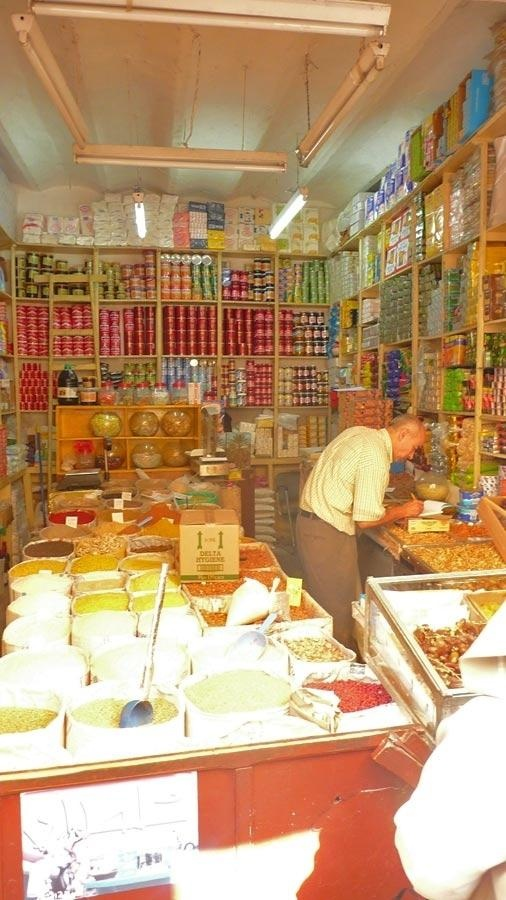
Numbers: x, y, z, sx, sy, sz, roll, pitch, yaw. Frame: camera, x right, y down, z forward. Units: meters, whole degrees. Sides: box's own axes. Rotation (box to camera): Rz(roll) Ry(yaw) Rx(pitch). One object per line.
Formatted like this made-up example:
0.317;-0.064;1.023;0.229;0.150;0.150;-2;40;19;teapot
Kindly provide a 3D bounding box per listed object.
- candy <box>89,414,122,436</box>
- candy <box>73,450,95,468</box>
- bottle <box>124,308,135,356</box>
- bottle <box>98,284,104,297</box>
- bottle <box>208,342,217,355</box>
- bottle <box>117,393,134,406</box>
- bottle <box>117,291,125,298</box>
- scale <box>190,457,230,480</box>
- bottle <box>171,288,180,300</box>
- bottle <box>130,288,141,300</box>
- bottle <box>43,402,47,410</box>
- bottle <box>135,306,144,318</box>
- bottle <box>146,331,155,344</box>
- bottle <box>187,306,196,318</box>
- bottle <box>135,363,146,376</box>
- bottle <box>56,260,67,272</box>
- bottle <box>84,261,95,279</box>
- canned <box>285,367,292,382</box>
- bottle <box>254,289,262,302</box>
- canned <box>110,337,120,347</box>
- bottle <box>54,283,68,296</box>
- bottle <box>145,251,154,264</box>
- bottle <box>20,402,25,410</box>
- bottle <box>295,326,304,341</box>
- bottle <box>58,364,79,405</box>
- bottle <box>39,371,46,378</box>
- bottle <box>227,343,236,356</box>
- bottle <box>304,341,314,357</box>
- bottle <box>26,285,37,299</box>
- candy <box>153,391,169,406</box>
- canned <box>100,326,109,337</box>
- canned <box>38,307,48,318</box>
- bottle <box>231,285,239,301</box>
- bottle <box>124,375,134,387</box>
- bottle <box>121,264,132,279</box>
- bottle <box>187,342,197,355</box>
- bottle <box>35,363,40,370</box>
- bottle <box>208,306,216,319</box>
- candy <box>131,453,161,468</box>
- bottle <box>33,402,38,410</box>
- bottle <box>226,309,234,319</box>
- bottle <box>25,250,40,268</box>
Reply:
-1.307;-0.207;5.276;0.270;0.242;0.146;4;13;6;candy
-1.496;0.084;5.321;0.143;0.146;0.149;-4;8;-11;candy
-1.306;-1.245;6.351;0.101;0.484;0.215;0;13;-11;bottle
-1.578;-1.660;6.272;0.072;0.161;0.059;2;12;-6;bottle
-0.438;-1.092;6.493;0.113;0.135;0.118;3;3;-4;bottle
-1.143;-0.465;5.394;0.122;0.141;0.124;2;7;10;bottle
-1.374;-1.619;6.270;0.068;0.074;0.067;9;12;43;bottle
-0.314;0.139;4.427;0.256;0.181;0.282;1;13;-9;scale
-0.811;-1.643;6.339;0.102;0.119;0.107;2;8;8;bottle
-1.215;-1.626;6.274;0.114;0.136;0.127;2;5;7;bottle
-2.165;-0.448;6.257;0.043;0.091;0.088;-3;14;-23;bottle
-1.206;-1.462;6.380;0.095;0.112;0.098;-1;6;-15;bottle
-1.089;-1.196;6.381;0.106;0.132;0.111;0;8;-8;bottle
-0.653;-1.461;6.377;0.096;0.116;0.101;-1;12;-12;bottle
-1.188;-0.843;6.321;0.099;0.119;0.104;0;8;-9;bottle
-2.008;-1.930;6.296;0.117;0.124;0.119;-6;16;-32;bottle
-1.713;-1.893;6.269;0.083;0.178;0.311;0;14;-14;bottle
0.404;-0.871;6.836;0.109;0.195;0.118;0;7;4;canned
0.053;-1.694;6.603;0.114;0.135;0.119;0;9;1;bottle
-1.454;-1.149;6.387;0.050;0.109;0.142;6;13;16;canned
-1.959;-1.634;6.180;0.134;0.110;0.139;-1;9;0;bottle
-1.083;-2.013;6.293;0.114;0.123;0.111;7;15;25;bottle
-2.391;-0.454;6.233;0.052;0.069;0.031;-2;13;-21;bottle
0.543;-1.339;6.840;0.129;0.152;0.134;4;11;19;bottle
-1.645;-0.557;5.347;0.168;0.287;0.160;3;13;-1;bottle
-2.201;-0.791;6.306;0.056;0.080;0.081;-1;2;1;bottle
-0.244;-1.094;6.583;0.116;0.136;0.117;8;11;44;bottle
0.639;-1.146;6.855;0.132;0.226;0.137;0;7;0;bottle
-2.256;-1.613;6.132;0.114;0.133;0.118;-2;15;-19;bottle
-0.821;-0.465;5.403;0.120;0.124;0.124;0;7;-6;candy
-1.557;-1.239;6.294;0.102;0.157;0.105;5;11;23;canned
-2.175;-1.424;6.225;0.096;0.108;0.094;-16;30;-31;canned
-0.194;-1.717;6.561;0.122;0.187;0.127;0;8;0;bottle
-1.291;-0.727;6.297;0.120;0.146;0.125;2;8;5;bottle
-1.333;-1.860;6.300;0.147;0.146;0.050;12;15;34;bottle
-0.648;-1.077;6.410;0.110;0.133;0.115;3;10;12;bottle
-2.244;-0.875;6.266;0.057;0.065;0.060;-1;8;-8;bottle
-0.444;-1.478;6.477;0.110;0.136;0.114;-2;11;-14;bottle
-0.922;0.088;5.201;0.156;0.098;0.153;-1;6;-22;candy
-2.275;-0.460;6.265;0.053;0.079;0.033;-1;13;-18;bottle
-0.256;-1.497;6.618;0.095;0.117;0.099;-3;12;-15;bottle
-2.255;-1.948;6.136;0.144;0.159;0.144;-8;17;-41;bottle
